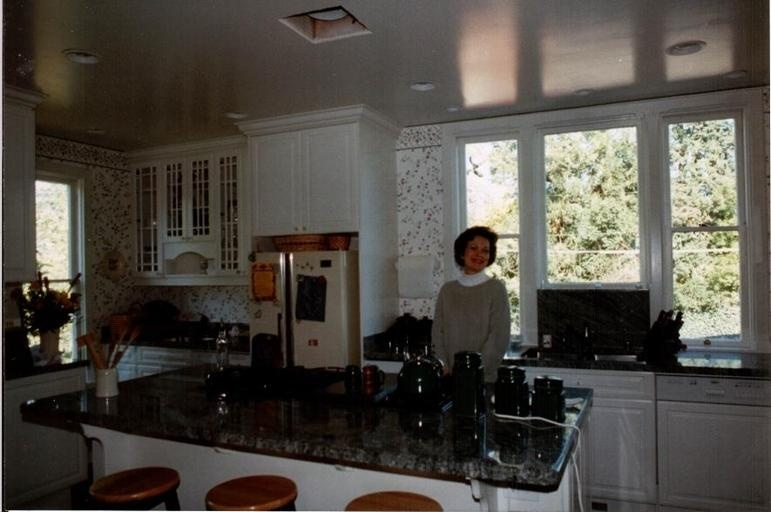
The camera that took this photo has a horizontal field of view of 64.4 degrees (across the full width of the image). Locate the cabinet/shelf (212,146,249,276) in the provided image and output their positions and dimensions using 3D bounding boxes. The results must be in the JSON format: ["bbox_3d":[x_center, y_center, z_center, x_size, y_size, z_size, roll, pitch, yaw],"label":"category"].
[{"bbox_3d":[-1.322,-0.366,5.256,0.286,1.036,0.093,0,-2,23],"label":"cabinet/shelf"}]

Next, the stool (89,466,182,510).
[{"bbox_3d":[-1.177,1.093,2.881,0.244,0.192,0.267,1,4,32],"label":"stool"}]

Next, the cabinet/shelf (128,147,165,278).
[{"bbox_3d":[-2.141,-0.336,5.503,0.236,1.020,0.203,1,-2,-21],"label":"cabinet/shelf"}]

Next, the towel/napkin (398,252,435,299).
[{"bbox_3d":[0.234,0.160,4.743,0.376,0.394,0.143,0,2,17],"label":"towel/napkin"}]

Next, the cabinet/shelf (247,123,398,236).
[{"bbox_3d":[-0.489,-0.599,5.164,1.199,0.876,0.632,1,2,36],"label":"cabinet/shelf"}]

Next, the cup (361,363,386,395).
[{"bbox_3d":[-0.054,0.651,3.221,0.154,0.142,0.077,2,-3,-43],"label":"cup"}]

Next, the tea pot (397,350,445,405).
[{"bbox_3d":[0.172,0.626,3.129,0.219,0.212,0.266,-14,-4,5],"label":"tea pot"}]

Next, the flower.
[{"bbox_3d":[-1.621,0.234,2.911,0.252,0.282,0.264,1,-16,10],"label":"flower"}]

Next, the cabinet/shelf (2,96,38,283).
[{"bbox_3d":[-1.577,-0.298,2.659,0.103,0.827,0.260,1,-2,0],"label":"cabinet/shelf"}]

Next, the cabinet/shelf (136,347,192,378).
[{"bbox_3d":[-1.766,0.856,4.927,0.340,0.317,0.194,-1,-7,11],"label":"cabinet/shelf"}]

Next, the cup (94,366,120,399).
[{"bbox_3d":[-1.503,0.687,3.315,0.115,0.156,0.094,2,-2,-25],"label":"cup"}]

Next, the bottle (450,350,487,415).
[{"bbox_3d":[0.392,0.609,2.926,0.153,0.307,0.147,1,-2,0],"label":"bottle"}]

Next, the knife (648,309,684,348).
[{"bbox_3d":[1.739,0.461,3.810,0.143,0.195,0.306,23,-9,24],"label":"knife"}]

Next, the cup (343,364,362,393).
[{"bbox_3d":[-0.178,0.655,3.268,0.083,0.135,0.190,1,-2,-7],"label":"cup"}]

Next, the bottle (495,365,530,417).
[{"bbox_3d":[0.599,0.646,2.946,0.139,0.226,0.132,1,4,0],"label":"bottle"}]

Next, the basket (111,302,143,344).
[{"bbox_3d":[-2.196,0.604,5.333,0.202,0.225,0.368,-1,-1,7],"label":"basket"}]
